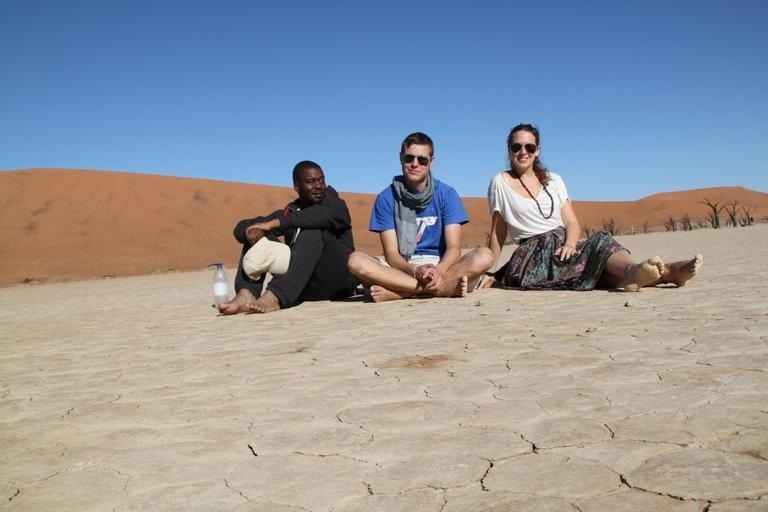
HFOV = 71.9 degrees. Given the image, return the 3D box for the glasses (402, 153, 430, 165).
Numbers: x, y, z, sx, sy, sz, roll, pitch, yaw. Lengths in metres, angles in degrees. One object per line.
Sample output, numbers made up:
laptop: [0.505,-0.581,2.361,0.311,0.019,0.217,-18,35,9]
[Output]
glasses: [0.313,-0.962,5.330,0.266,0.112,0.091,0,3,4]

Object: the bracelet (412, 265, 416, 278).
bracelet: [0.309,0.160,5.329,0.026,0.125,0.093,-1,3,-7]

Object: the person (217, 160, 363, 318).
person: [-0.946,-0.222,5.605,1.226,1.435,1.985,-2,0,34]

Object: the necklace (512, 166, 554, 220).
necklace: [1.652,-0.654,5.886,0.201,0.586,0.028,-38,-7,-8]

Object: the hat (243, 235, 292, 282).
hat: [-1.175,-0.014,5.167,0.380,0.290,0.586,32,27,26]
